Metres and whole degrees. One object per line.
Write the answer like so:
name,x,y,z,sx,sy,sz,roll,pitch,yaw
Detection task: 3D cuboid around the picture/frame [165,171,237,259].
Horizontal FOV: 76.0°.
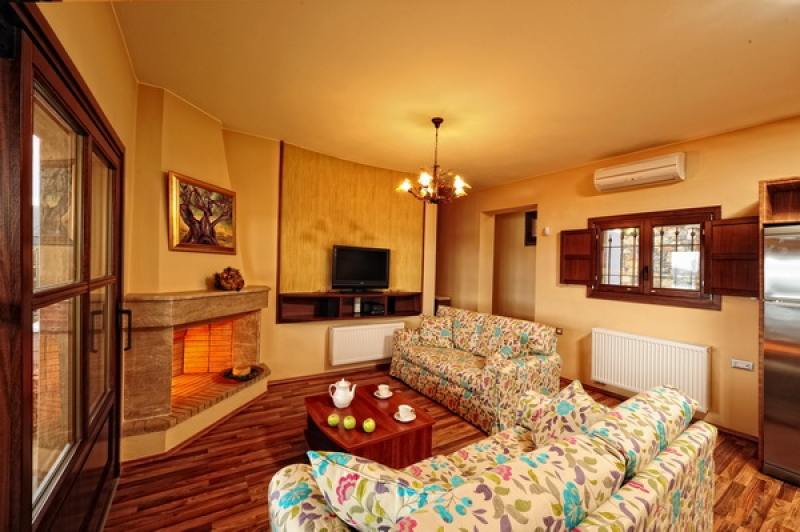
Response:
picture/frame,-1.929,-0.473,5.033,0.867,0.698,0.024,12,15,22

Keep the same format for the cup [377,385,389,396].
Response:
cup,-0.156,1.150,4.779,0.081,0.058,0.077,2,4,0

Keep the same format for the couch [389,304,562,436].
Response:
couch,0.722,1.061,5.928,1.034,0.939,1.752,0,6,-36

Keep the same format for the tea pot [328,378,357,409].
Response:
tea pot,-0.558,1.114,4.619,0.311,0.296,0.220,1,3,12

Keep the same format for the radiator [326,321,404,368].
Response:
radiator,-0.429,0.978,6.620,1.023,0.487,0.120,0,9,-34

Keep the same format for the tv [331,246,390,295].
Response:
tv,-0.528,0.061,6.644,0.852,0.590,0.222,2,2,-36

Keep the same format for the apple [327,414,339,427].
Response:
apple,-0.565,1.255,4.256,0.091,0.086,0.090,-3,8,-28

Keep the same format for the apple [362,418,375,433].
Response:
apple,-0.258,1.287,4.203,0.102,0.096,0.099,-1,0,-39

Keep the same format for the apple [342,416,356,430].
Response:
apple,-0.427,1.265,4.222,0.103,0.099,0.105,-1,4,28

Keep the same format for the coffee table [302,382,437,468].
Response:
coffee table,-0.140,1.431,4.600,0.646,0.370,0.837,-14,20,-25

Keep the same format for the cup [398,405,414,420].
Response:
cup,0.045,1.236,4.378,0.117,0.081,0.094,2,-2,-16

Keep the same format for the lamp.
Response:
lamp,0.392,-1.156,5.541,0.825,0.901,0.832,4,4,14
